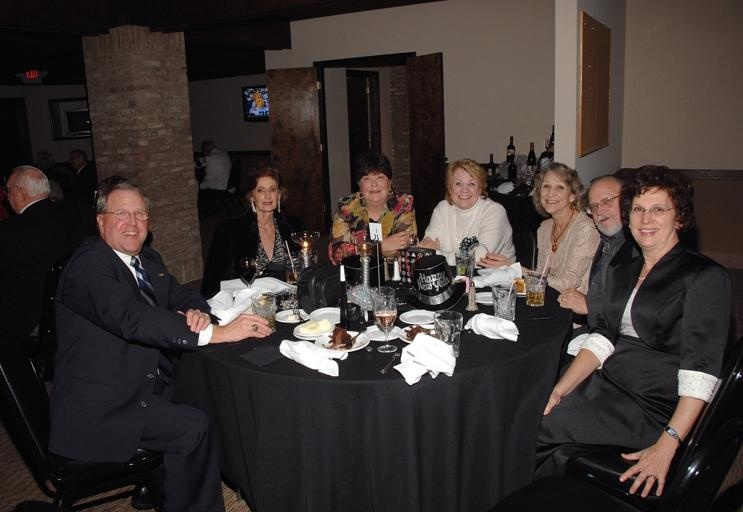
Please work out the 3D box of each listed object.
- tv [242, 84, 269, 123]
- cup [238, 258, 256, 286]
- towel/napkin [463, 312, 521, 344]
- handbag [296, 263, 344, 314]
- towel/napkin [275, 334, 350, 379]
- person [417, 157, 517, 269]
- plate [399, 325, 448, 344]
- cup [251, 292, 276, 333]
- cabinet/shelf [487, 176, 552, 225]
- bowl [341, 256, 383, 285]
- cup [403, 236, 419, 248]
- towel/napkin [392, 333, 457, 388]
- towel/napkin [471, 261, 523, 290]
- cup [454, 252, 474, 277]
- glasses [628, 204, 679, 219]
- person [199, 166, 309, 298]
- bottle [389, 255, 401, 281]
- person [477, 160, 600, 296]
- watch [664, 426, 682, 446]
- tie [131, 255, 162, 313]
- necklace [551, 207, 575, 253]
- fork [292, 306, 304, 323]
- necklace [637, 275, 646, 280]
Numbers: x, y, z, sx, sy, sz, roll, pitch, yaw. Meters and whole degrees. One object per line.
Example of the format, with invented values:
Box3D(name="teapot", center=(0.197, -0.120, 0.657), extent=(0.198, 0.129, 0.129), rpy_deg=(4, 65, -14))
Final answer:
Box3D(name="tv", center=(-2.745, -3.619, 13.149), extent=(0.838, 0.827, 0.258), rpy_deg=(10, 20, 42))
Box3D(name="cup", center=(-0.668, 0.086, 2.989), extent=(0.074, 0.198, 0.085), rpy_deg=(-8, 22, -19))
Box3D(name="towel/napkin", center=(0.565, 0.325, 2.543), extent=(0.163, 0.053, 0.122), rpy_deg=(11, 21, 23))
Box3D(name="handbag", center=(-0.257, 0.147, 2.790), extent=(0.177, 0.250, 0.241), rpy_deg=(6, 18, 35))
Box3D(name="towel/napkin", center=(-0.257, 0.430, 2.372), extent=(0.224, 0.049, 0.139), rpy_deg=(9, 16, 17))
Box3D(name="person", center=(0.724, -0.320, 3.947), extent=(0.772, 0.892, 0.660), rpy_deg=(-3, 8, -43))
Box3D(name="plate", center=(0.209, 0.348, 2.497), extent=(0.106, 0.019, 0.107), rpy_deg=(7, 18, 21))
Box3D(name="cup", center=(-0.494, 0.275, 2.624), extent=(0.149, 0.235, 0.148), rpy_deg=(-2, -2, 0))
Box3D(name="cabinet/shelf", center=(1.214, -0.444, 4.621), extent=(0.379, 0.143, 0.380), rpy_deg=(1, 26, 36))
Box3D(name="bowl", center=(-0.038, 0.057, 2.871), extent=(0.164, 0.106, 0.156), rpy_deg=(1, 4, 0))
Box3D(name="cup", center=(0.263, -0.090, 3.557), extent=(0.079, 0.078, 0.080), rpy_deg=(0, 0, 0))
Box3D(name="towel/napkin", center=(0.229, 0.422, 2.297), extent=(0.199, 0.075, 0.201), rpy_deg=(25, 49, 24))
Box3D(name="towel/napkin", center=(0.711, 0.107, 3.118), extent=(0.225, 0.078, 0.162), rpy_deg=(-11, 14, -13))
Box3D(name="cup", center=(0.504, 0.050, 3.122), extent=(0.111, 0.132, 0.117), rpy_deg=(0, 1, 0))
Box3D(name="glasses", center=(1.309, -0.211, 2.566), extent=(0.179, 0.046, 0.041), rpy_deg=(3, 16, 23))
Box3D(name="person", center=(-0.788, -0.096, 3.984), extent=(0.784, 0.614, 0.385), rpy_deg=(-2, 46, -18))
Box3D(name="bottle", center=(0.146, 0.081, 3.179), extent=(0.097, 0.172, 0.100), rpy_deg=(-1, 2, 0))
Box3D(name="person", center=(1.273, -0.253, 3.924), extent=(0.819, 1.207, 0.728), rpy_deg=(-1, 12, -5))
Box3D(name="watch", center=(1.297, 0.770, 2.371), extent=(0.040, 0.060, 0.064), rpy_deg=(-35, -11, 4))
Box3D(name="tie", center=(-1.120, 0.135, 2.733), extent=(0.055, 0.247, 0.144), rpy_deg=(-14, 5, 13))
Box3D(name="necklace", center=(1.267, -0.179, 3.664), extent=(0.174, 0.254, 0.059), rpy_deg=(6, 1, 39))
Box3D(name="fork", center=(-0.365, 0.294, 2.762), extent=(0.025, 0.027, 0.173), rpy_deg=(-12, 23, -10))
Box3D(name="necklace", center=(1.318, 0.109, 2.707), extent=(0.021, 0.007, 0.022), rpy_deg=(-13, 46, 18))
